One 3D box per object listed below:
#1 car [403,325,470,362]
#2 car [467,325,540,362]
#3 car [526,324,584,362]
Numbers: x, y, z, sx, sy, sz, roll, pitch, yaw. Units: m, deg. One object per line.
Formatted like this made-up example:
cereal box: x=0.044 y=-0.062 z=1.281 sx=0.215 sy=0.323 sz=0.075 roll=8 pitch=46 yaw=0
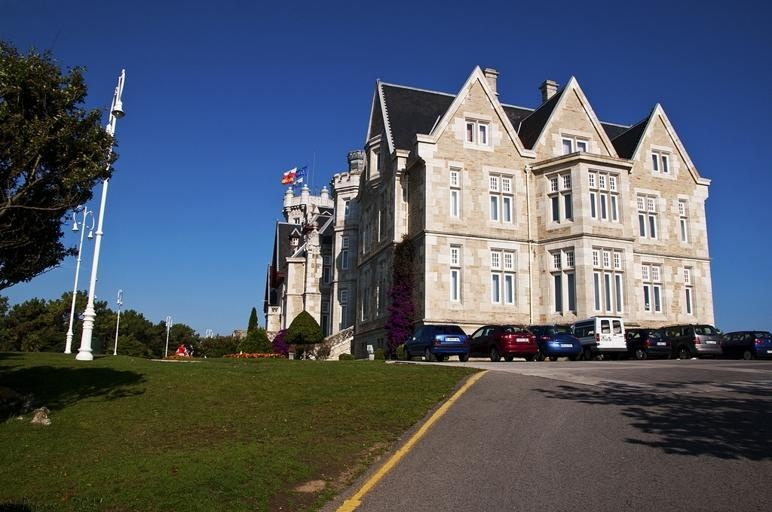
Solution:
car: x=2.946 y=4.747 z=31.229 sx=3.368 sy=1.750 sz=4.806 roll=-1 pitch=0 yaw=-13
car: x=5.884 y=4.383 z=29.199 sx=1.535 sy=1.397 sz=3.231 roll=-1 pitch=0 yaw=-31
car: x=8.733 y=4.439 z=29.240 sx=1.559 sy=1.241 sz=2.739 roll=1 pitch=-6 yaw=-4
